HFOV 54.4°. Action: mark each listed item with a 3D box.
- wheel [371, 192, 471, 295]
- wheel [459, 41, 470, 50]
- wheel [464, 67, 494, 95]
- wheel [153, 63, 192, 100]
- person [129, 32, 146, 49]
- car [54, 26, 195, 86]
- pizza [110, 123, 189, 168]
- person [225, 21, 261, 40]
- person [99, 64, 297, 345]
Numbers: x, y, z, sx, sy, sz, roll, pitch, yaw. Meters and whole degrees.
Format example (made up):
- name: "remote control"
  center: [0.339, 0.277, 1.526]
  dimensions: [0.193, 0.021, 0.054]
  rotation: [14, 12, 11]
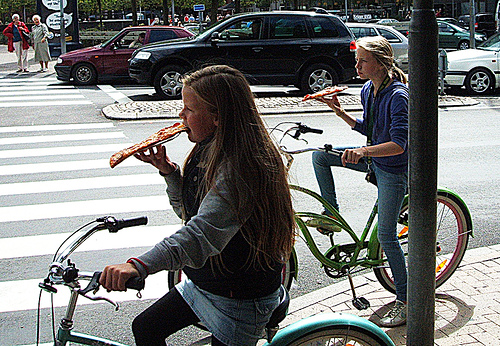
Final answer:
- name: "wheel"
  center: [1.664, 0.675, 4.635]
  dimensions: [1.128, 1.108, 0.227]
  rotation: [-13, 21, -16]
- name: "wheel"
  center: [13.153, -7.884, 29.833]
  dimensions: [0.526, 0.414, 0.495]
  rotation: [-3, 16, 1]
- name: "wheel"
  center: [7.765, -3.111, 16.420]
  dimensions: [0.942, 0.892, 0.428]
  rotation: [-8, 17, -16]
- name: "wheel"
  center: [-2.369, -2.790, 15.420]
  dimensions: [1.217, 1.207, 0.439]
  rotation: [-4, -3, 25]
- name: "person"
  center: [-4.355, -5.070, 18.596]
  dimensions: [0.434, 0.586, 0.847]
  rotation: [1, 17, 12]
- name: "car"
  center: [-5.485, -4.712, 19.101]
  dimensions: [5.105, 1.980, 2.298]
  rotation: [0, 12, -6]
- name: "pizza"
  center: [-0.547, -0.156, 2.596]
  dimensions: [0.461, 0.159, 0.306]
  rotation: [-10, 18, -23]
- name: "person"
  center: [-0.143, -4.530, 15.467]
  dimensions: [0.966, 0.559, 0.214]
  rotation: [-3, 16, 0]
- name: "person"
  center: [-0.227, 0.235, 3.501]
  dimensions: [1.505, 2.336, 1.096]
  rotation: [4, 0, -10]
